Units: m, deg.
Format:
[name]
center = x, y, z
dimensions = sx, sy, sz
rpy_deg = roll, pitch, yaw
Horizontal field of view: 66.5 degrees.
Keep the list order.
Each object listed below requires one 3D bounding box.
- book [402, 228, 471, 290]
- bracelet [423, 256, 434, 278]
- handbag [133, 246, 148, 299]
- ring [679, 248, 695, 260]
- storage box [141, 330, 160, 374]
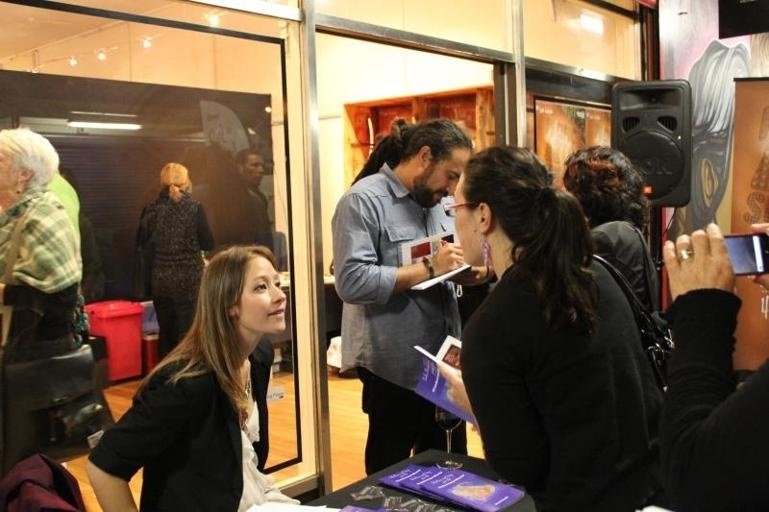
[book]
center = 0.228, 0.019, 2.725
dimensions = 0.272, 0.157, 0.096
rpy_deg = -21, 10, -33
[bracelet]
center = 0.205, 0.065, 2.785
dimensions = 0.058, 0.088, 0.035
rpy_deg = -4, 7, -4
[handbag]
center = -1.138, 0.081, 2.738
dimensions = 0.069, 0.313, 0.074
rpy_deg = -3, -36, -15
[ring]
center = 0.703, -0.003, 1.367
dimensions = 0.029, 0.021, 0.028
rpy_deg = -3, -1, 0
[storage box]
center = -1.110, 0.449, 2.762
dimensions = 0.074, 0.105, 0.074
rpy_deg = -1, 0, 3
